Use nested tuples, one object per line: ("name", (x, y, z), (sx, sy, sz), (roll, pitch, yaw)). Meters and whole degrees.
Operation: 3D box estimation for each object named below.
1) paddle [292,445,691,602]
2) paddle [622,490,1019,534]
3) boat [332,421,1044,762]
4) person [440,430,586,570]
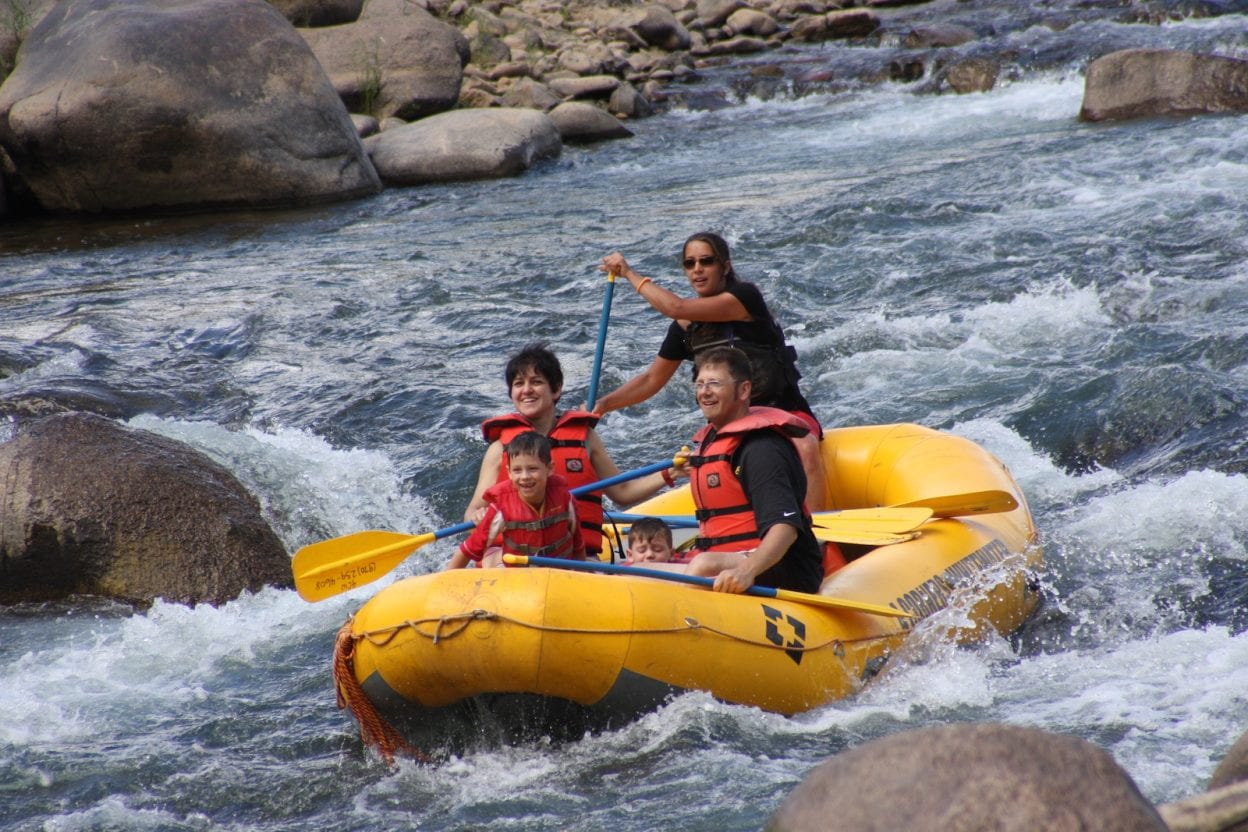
("paddle", (-0.998, 0.881, 15.917), (4.092, 0.470, 0.282), (-14, 2, -7))
("paddle", (2.108, 0.749, 16.039), (1.825, 0.207, 0.959), (-3, -4, -2))
("boat", (0.906, 1.477, 15.435), (4.449, 0.899, 2.561), (-14, 10, -36))
("person", (-0.785, 0.679, 15.644), (1.311, 1.507, 0.763), (0, 7, 3))
